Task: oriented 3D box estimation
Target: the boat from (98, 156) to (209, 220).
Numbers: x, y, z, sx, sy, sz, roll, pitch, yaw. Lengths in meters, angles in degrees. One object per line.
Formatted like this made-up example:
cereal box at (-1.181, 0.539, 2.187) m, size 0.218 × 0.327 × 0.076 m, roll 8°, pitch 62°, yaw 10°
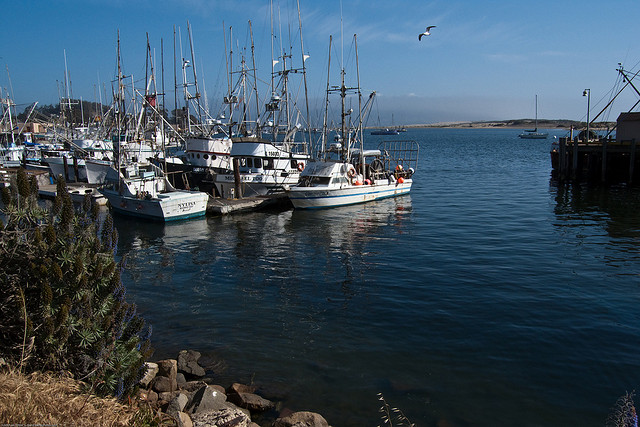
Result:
boat at (-11.377, -1.517, 37.941) m, size 7.166 × 2.979 × 3.693 m, roll 10°, pitch 17°, yaw 32°

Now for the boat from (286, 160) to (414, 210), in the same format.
boat at (2.564, -2.527, 43.307) m, size 3.692 × 3.527 × 13.443 m, roll 9°, pitch 16°, yaw 39°
